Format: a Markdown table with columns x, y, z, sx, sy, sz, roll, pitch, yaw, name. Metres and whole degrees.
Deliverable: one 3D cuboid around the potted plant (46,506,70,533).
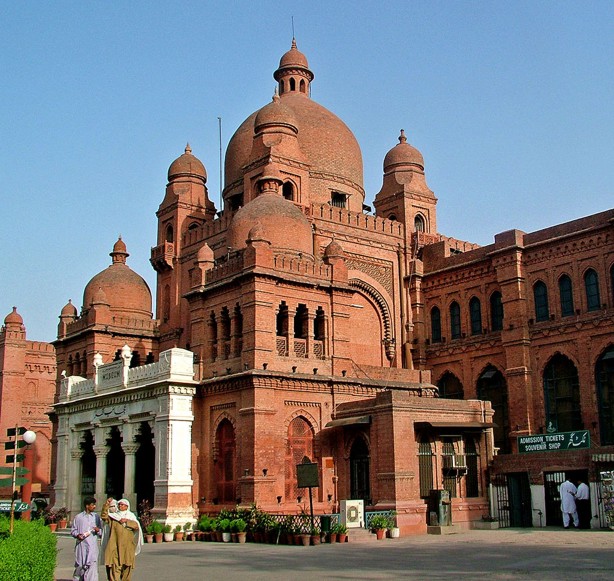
| x | y | z | sx | sy | sz | roll | pitch | yaw | name |
| --- | --- | --- | --- | --- | --- | --- | --- | --- | --- |
| -9.230 | 8.460 | 32.634 | 0.825 | 0.986 | 1.556 | -1 | -20 | -4 | potted plant |
